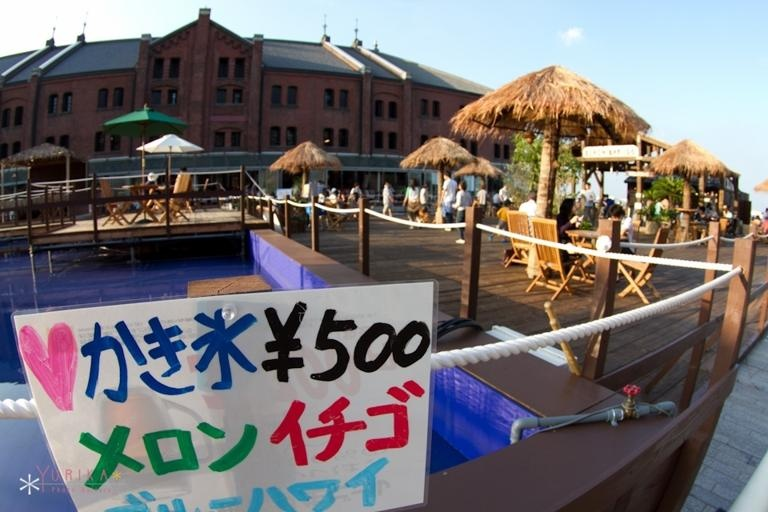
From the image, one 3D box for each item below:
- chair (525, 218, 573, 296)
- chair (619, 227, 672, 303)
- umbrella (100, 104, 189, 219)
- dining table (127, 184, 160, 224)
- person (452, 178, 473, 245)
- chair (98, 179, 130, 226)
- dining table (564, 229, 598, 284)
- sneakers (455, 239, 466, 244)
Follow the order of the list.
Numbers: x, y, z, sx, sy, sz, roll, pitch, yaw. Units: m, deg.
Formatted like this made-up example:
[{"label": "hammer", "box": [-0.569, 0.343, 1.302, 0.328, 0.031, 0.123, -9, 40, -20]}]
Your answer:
[{"label": "chair", "box": [2.370, 0.042, 7.151, 0.642, 0.966, 0.741, 12, 3, 7]}, {"label": "chair", "box": [3.509, 0.063, 7.407, 0.670, 0.963, 0.633, 3, 7, 18]}, {"label": "umbrella", "box": [-5.961, -2.727, 13.309, 1.735, 2.013, 1.738, 2, 6, -8]}, {"label": "dining table", "box": [-5.180, -1.114, 11.599, 0.593, 0.791, 0.626, -4, 4, -27]}, {"label": "person", "box": [1.878, -1.100, 13.243, 0.499, 1.550, 0.462, -9, 11, -35]}, {"label": "chair", "box": [-5.748, -1.163, 11.461, 0.512, 0.951, 2.442, -4, 8, -27]}, {"label": "dining table", "box": [2.564, 0.009, 7.056, 0.563, 0.678, 0.694, -2, 5, 7]}, {"label": "sneakers", "box": [1.686, -0.390, 12.012, 0.174, 0.145, 0.324, 1, 13, 1]}]
